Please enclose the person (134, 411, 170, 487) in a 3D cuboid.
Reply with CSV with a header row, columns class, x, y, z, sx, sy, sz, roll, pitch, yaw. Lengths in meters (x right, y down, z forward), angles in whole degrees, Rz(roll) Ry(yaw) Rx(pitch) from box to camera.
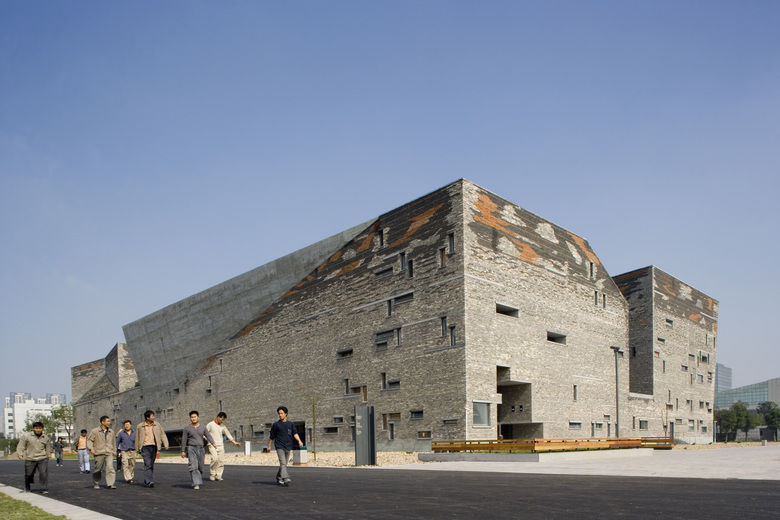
class,x,y,z,sx,sy,sz,roll,pitch,yaw
person,-10.577,8.318,39.214,1.152,3.206,1.371,-14,-25,32
